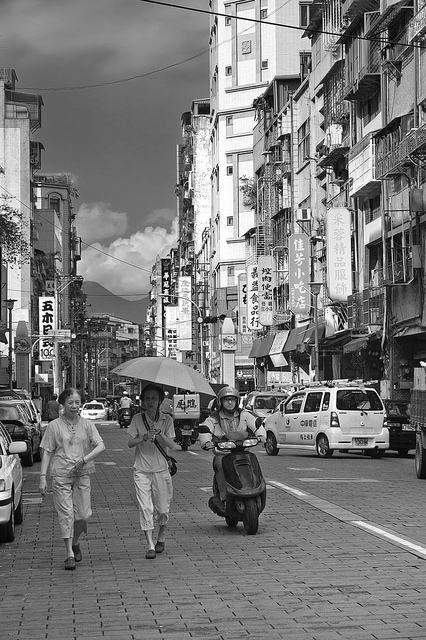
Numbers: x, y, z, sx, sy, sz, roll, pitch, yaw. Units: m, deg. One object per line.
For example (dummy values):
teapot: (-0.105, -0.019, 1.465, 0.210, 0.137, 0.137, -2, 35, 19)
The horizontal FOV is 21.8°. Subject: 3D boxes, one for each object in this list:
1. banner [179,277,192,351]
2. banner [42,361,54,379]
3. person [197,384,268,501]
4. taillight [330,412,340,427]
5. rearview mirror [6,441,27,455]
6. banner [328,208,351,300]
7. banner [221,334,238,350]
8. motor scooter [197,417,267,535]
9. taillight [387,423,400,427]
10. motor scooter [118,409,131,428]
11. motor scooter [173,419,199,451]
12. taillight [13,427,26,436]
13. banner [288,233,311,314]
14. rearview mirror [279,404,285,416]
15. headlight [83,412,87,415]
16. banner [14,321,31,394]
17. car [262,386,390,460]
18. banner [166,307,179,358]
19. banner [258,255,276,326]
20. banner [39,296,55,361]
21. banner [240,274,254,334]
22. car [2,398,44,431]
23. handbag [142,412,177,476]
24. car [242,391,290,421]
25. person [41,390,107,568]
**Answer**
banner: (-3.030, -0.150, 116.644, 1.755, 9.407, 1.747, -4, -31, 3)
banner: (-14.971, 4.468, 99.945, 0.803, 1.806, 1.673, -1, -3, -3)
person: (0.126, 1.253, 12.455, 0.633, 0.883, 1.222, -4, -3, -12)
taillight: (2.743, 2.282, 25.176, 0.256, 0.540, 0.250, -1, -4, 7)
rearview mirror: (-2.137, 1.404, 12.031, 0.208, 0.142, 0.413, 0, -3, -8)
banner: (4.557, -2.372, 40.253, 0.780, 3.277, 0.397, 0, -2, 4)
banner: (0.745, 1.108, 54.050, 0.649, 0.744, 0.653, -1, 1, 30)
motor scooter: (0.234, 1.746, 12.162, 0.551, 1.101, 1.440, -5, -1, -11)
taillight: (4.265, 2.500, 26.293, 0.296, 0.095, 0.077, 0, -2, -2)
motor scooter: (-4.608, 5.179, 58.024, 0.560, 0.933, 1.490, 0, -2, -5)
motor scooter: (-0.805, 3.398, 32.843, 0.709, 0.875, 1.641, 0, -2, -1)
taillight: (-4.003, 2.296, 22.826, 0.223, 0.240, 0.136, 0, -2, 1)
banner: (3.860, -2.083, 49.923, 0.945, 3.548, 0.742, 0, -2, 5)
rearview mirror: (1.707, 2.250, 27.844, 0.177, 0.390, 0.246, 2, -4, -20)
headlight: (-8.498, 6.198, 73.070, 0.193, 0.167, 0.116, 0, 2, 11)
banner: (-13.114, 2.509, 76.172, 0.954, 4.774, 4.476, 0, -2, -9)
car: (2.385, 2.491, 27.073, 1.502, 1.753, 4.691, 1, -3, -32)
banner: (-4.589, 1.085, 123.346, 1.376, 5.682, 1.070, 0, 18, -1)
banner: (2.886, -1.676, 60.461, 0.825, 4.241, 0.447, 3, 29, 7)
banner: (-12.695, 0.678, 84.575, 1.139, 4.718, 1.862, 0, -2, -10)
banner: (2.032, -0.998, 69.434, 1.082, 5.023, 0.485, -4, 37, -3)
car: (-4.903, 2.435, 28.741, 0.912, 1.015, 2.197, 0, 2, 0)
handbag: (-0.439, 1.132, 10.363, 0.143, 0.617, 0.315, -20, 2, -11)
car: (1.494, 2.399, 33.316, 1.074, 1.194, 2.038, 0, -9, -7)
person: (-1.226, 1.368, 9.636, 0.552, 1.510, 0.615, 0, -2, -17)
